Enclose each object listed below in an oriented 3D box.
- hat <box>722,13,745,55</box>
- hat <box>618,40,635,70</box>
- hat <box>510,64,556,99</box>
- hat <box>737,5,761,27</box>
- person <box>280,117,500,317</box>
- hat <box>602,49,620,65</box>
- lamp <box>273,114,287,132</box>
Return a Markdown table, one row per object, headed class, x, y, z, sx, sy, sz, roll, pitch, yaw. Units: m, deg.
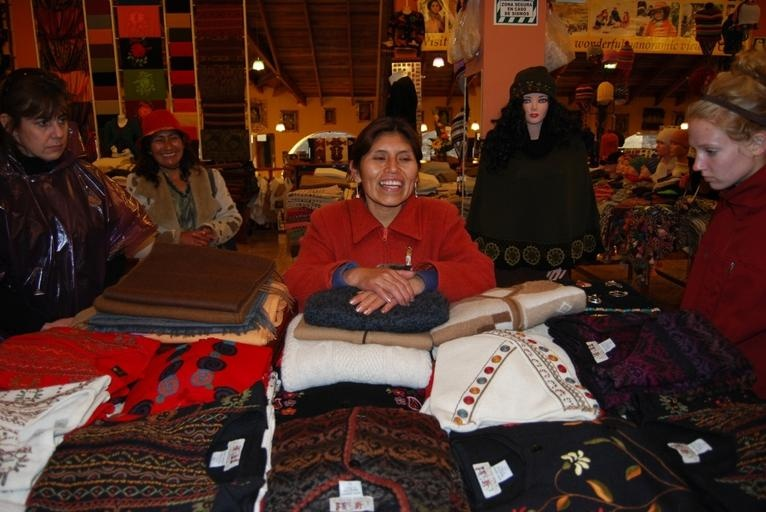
| class | x | y | z | sx | sy | sz | roll | pitch | yaw |
| --- | --- | --- | --- | --- | --- | --- | --- | --- | --- |
| hat | 4.325 | -2.709 | 6.009 | 0.257 | 0.483 | 0.632 | 11 | 24 | 31 |
| hat | 4.748 | -3.881 | 9.558 | 0.247 | 0.512 | 0.888 | 7 | 22 | 23 |
| hat | 0.963 | -1.101 | 3.128 | 0.282 | 0.189 | 0.273 | 2 | 21 | 13 |
| hat | 4.232 | -2.767 | 5.668 | 0.214 | 0.272 | 0.327 | 10 | 24 | 30 |
| person | 0.020 | -0.158 | 2.019 | 0.773 | 0.763 | 0.677 | -18 | 25 | -34 |
| hat | 4.412 | -3.820 | 9.509 | 0.360 | 0.134 | 0.465 | 1 | 65 | 10 |
| lamp | -3.858 | -4.965 | 18.321 | 0.637 | 0.718 | 0.416 | 5 | 16 | -6 |
